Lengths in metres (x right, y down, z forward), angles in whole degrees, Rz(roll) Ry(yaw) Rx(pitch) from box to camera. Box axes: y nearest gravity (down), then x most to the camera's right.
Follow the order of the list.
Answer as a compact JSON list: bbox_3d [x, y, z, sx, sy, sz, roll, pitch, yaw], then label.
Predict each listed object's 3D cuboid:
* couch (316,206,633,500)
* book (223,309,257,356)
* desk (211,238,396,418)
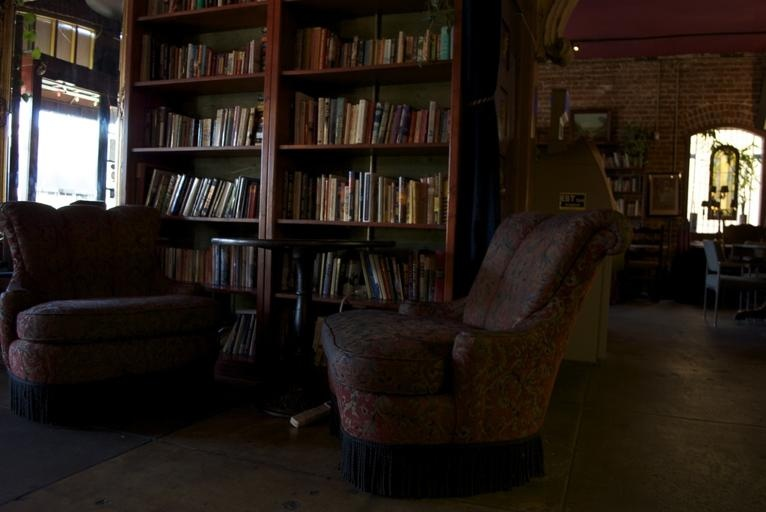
[{"bbox_3d":[0.403,0.488,3.571,1.583,1.385,1.396,1,-3,-9],"label":"couch"},{"bbox_3d":[-1.114,0.598,4.685,0.105,0.349,0.252,10,-11,-39],"label":"book"},{"bbox_3d":[-0.557,0.352,4.125,1.236,1.172,1.144,6,31,1],"label":"desk"}]
